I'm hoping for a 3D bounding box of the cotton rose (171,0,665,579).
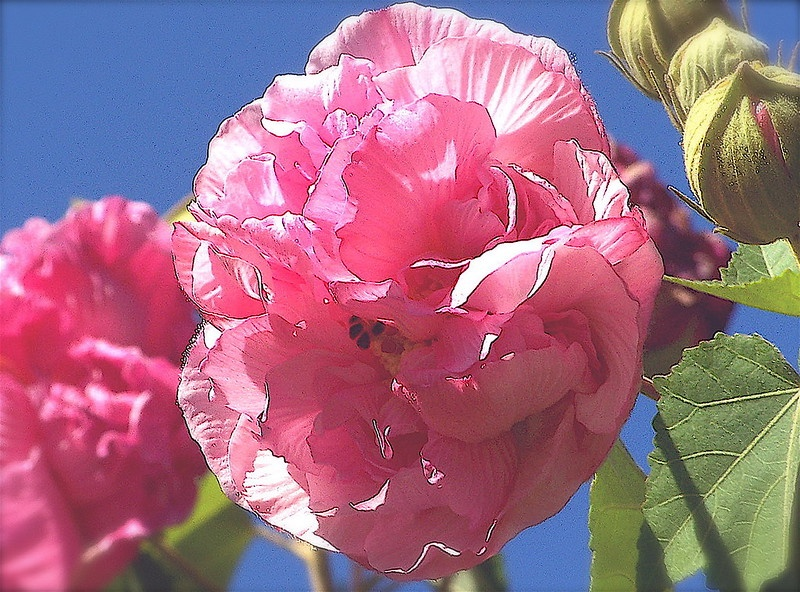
[{"bbox_3d":[0.023,0.012,0.858,0.327,0.383,0.202,0,-1,26],"label":"cotton rose"}]
